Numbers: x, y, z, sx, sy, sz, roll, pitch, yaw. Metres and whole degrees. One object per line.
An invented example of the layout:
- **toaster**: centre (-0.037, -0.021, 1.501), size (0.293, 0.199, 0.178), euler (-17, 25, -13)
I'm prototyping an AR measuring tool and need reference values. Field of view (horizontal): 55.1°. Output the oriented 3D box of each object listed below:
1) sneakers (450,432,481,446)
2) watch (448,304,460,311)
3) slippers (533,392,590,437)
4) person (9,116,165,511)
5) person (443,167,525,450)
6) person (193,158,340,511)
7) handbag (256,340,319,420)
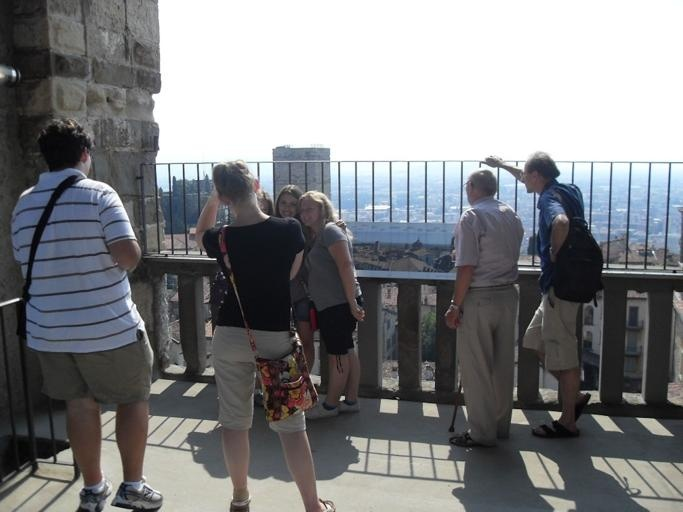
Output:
- **sneakers**: centre (0.928, 1.376, 4.935), size (0.200, 0.094, 0.098), euler (5, 6, 17)
- **watch**: centre (0.829, 0.376, 4.810), size (0.066, 0.047, 0.089), euler (-1, 6, 4)
- **slippers**: centre (1.714, 1.248, 5.178), size (0.533, 0.411, 0.219), euler (1, 2, -2)
- **person**: centre (-1.551, 0.395, 3.981), size (0.760, 2.413, 0.314), euler (1, 8, 11)
- **person**: centre (1.065, 0.393, 4.882), size (0.415, 2.054, 0.499), euler (4, 9, 33)
- **person**: centre (-0.497, 0.538, 4.109), size (0.908, 2.241, 0.508), euler (1, 8, 10)
- **handbag**: centre (-0.333, 0.749, 3.989), size (0.347, 0.483, 0.193), euler (-4, 8, -20)
